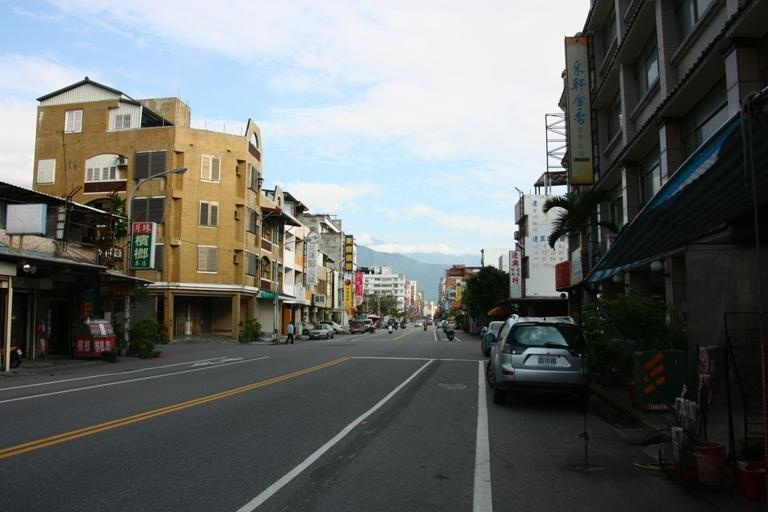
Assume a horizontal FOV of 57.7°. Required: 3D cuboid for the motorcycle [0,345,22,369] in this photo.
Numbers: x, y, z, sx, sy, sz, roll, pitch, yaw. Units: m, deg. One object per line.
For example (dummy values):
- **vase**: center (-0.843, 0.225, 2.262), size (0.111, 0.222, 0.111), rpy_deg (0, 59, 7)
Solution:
- **motorcycle**: center (-14.357, 3.877, 26.907), size (0.435, 0.886, 1.620), rpy_deg (1, -9, -6)
